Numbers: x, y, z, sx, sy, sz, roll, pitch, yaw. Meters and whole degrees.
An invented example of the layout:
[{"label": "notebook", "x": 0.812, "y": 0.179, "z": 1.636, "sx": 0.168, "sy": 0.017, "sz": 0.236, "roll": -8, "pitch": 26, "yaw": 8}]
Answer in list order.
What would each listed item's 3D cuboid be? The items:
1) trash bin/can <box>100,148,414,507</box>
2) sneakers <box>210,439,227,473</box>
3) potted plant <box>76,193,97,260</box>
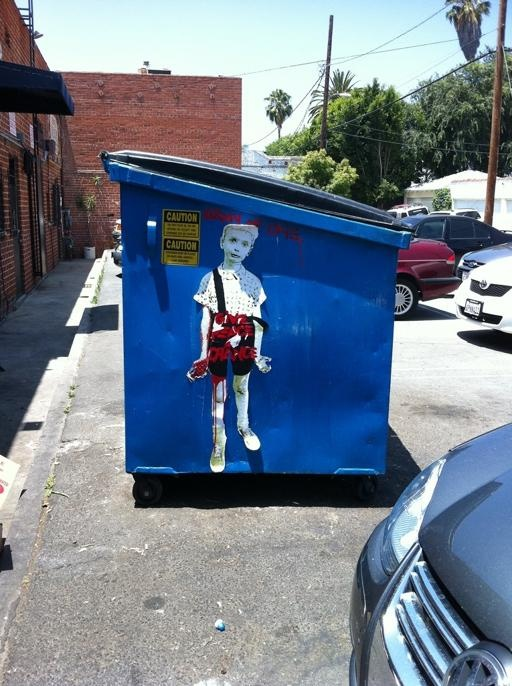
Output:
[{"label": "trash bin/can", "x": -0.014, "y": -0.160, "z": 4.199, "sx": 1.775, "sy": 2.277, "sz": 1.953, "roll": -2, "pitch": 8, "yaw": -5}, {"label": "sneakers", "x": -0.236, "y": 0.677, "z": 3.292, "sx": 0.071, "sy": 0.197, "sz": 0.076, "roll": 0, "pitch": 5, "yaw": 2}, {"label": "potted plant", "x": -7.450, "y": -5.307, "z": 24.305, "sx": 0.597, "sy": 2.488, "sz": 0.889, "roll": -9, "pitch": 15, "yaw": -43}]
